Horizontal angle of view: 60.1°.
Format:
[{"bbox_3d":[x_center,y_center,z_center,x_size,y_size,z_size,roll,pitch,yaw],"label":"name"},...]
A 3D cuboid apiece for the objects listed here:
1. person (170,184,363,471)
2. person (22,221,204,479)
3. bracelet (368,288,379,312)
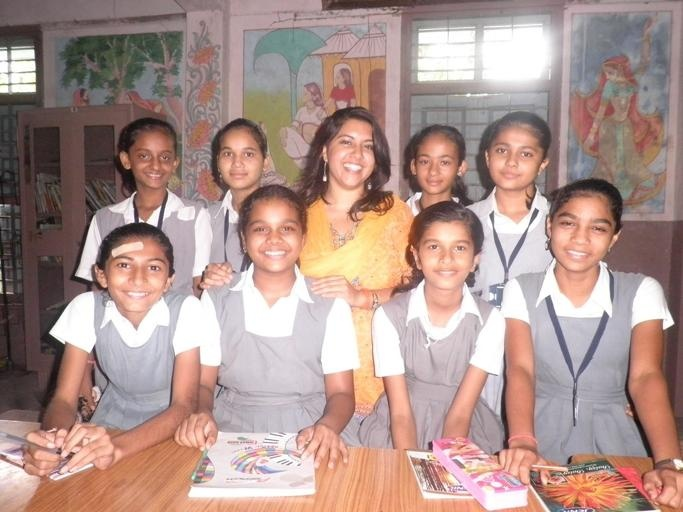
[{"bbox_3d":[-0.232,0.201,2.723,1.037,1.266,0.918,3,5,-1],"label":"person"},{"bbox_3d":[-0.850,0.327,2.384,0.653,0.877,0.891,10,5,1],"label":"person"},{"bbox_3d":[0.142,0.207,2.788,0.030,0.071,0.056,-2,-12,-2],"label":"bracelet"}]
